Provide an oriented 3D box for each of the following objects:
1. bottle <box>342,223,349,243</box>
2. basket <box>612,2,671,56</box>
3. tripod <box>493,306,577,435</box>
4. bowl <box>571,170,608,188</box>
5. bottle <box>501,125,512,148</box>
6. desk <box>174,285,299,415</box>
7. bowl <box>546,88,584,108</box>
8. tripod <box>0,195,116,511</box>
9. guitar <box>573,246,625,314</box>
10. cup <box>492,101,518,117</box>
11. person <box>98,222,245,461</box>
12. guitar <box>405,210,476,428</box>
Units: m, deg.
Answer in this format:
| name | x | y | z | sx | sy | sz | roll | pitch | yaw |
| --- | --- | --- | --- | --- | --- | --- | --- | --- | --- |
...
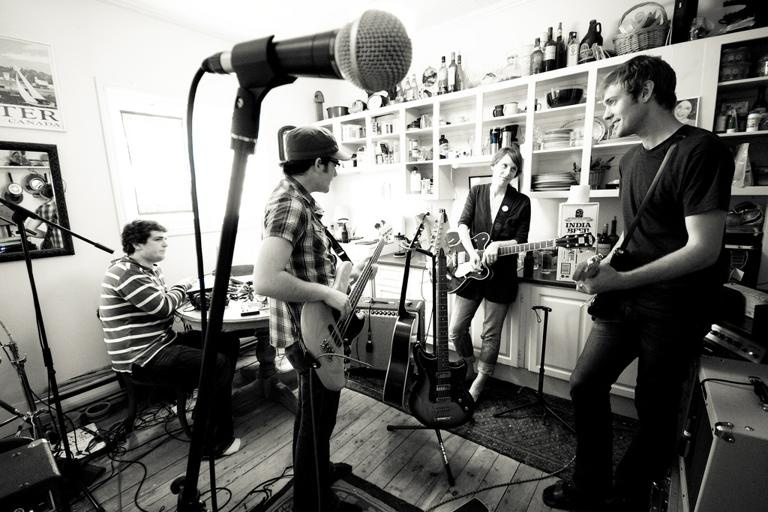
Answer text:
| name | x | y | z | sx | sy | sz | roll | pitch | yaw |
| --- | --- | --- | --- | --- | --- | --- | --- | --- | --- |
| bottle | -0.440 | -0.269 | 6.203 | 0.089 | 0.174 | 0.041 | -2 | -8 | 5 |
| basket | 2.096 | -1.833 | 4.578 | 0.523 | 0.478 | 0.387 | -1 | 15 | 34 |
| tripod | 1.154 | 0.930 | 5.006 | 0.853 | 1.193 | 0.875 | 5 | -4 | 6 |
| bowl | 1.785 | -0.662 | 4.708 | 0.227 | 0.148 | 0.183 | 0 | 3 | 25 |
| bottle | 1.110 | -1.072 | 4.928 | 0.083 | 0.159 | 0.101 | 3 | 10 | 30 |
| desk | -1.285 | 0.901 | 4.827 | 1.122 | 0.809 | 1.085 | -11 | 16 | -43 |
| bowl | 1.543 | -1.347 | 4.651 | 0.200 | 0.090 | 0.210 | -2 | 9 | 0 |
| tripod | -2.443 | 0.669 | 4.133 | 0.502 | 2.226 | 1.114 | -8 | 10 | -34 |
| guitar | 1.474 | 0.107 | 3.713 | 0.087 | 0.525 | 0.234 | 26 | -5 | -10 |
| cup | 1.117 | -1.335 | 5.006 | 0.193 | 0.137 | 0.120 | 6 | 12 | 40 |
| person | -1.675 | 0.625 | 4.380 | 1.035 | 1.836 | 0.642 | 0 | 9 | 18 |
| guitar | 0.455 | 0.520 | 4.148 | 0.459 | 1.525 | 0.514 | 3 | 10 | 32 |
